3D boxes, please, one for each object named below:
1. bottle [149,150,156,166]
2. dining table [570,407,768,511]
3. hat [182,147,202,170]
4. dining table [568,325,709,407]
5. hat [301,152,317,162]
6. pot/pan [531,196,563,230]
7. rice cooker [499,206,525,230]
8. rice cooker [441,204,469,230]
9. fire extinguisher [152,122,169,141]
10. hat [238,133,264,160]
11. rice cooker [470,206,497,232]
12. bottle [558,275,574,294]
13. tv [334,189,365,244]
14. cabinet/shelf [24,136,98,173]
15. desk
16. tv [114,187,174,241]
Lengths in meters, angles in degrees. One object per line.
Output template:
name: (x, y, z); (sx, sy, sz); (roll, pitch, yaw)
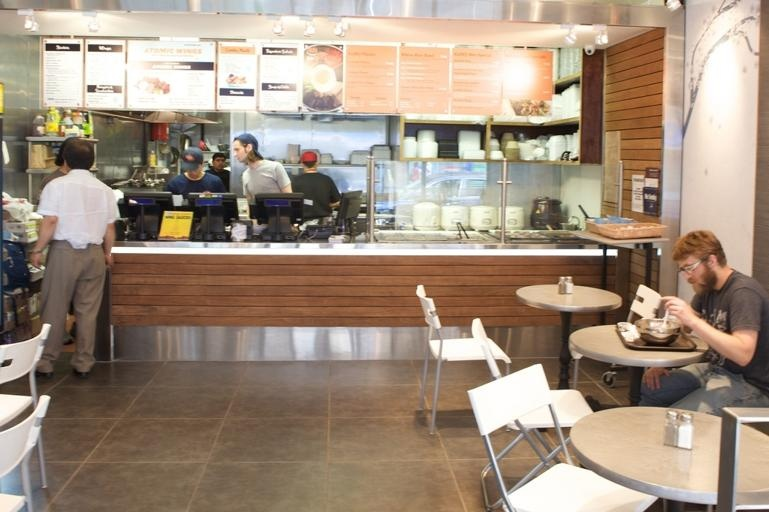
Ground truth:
bottle: (-3.909, -1.658, 10.481); (0.144, 0.249, 0.243); (-5, 10, -16)
dining table: (1.398, 0.988, 3.088); (0.861, 0.378, 0.703); (-4, 9, -16)
hat: (-2.564, -1.292, 8.238); (0.356, 0.200, 0.396); (5, 22, -7)
dining table: (1.715, 0.761, 4.228); (0.723, 0.342, 0.585); (-2, 7, -12)
hat: (-0.889, -1.189, 7.431); (0.169, 0.131, 0.165); (-4, 9, -14)
pot/pan: (1.784, -0.473, 6.793); (0.445, 0.337, 0.430); (0, -1, 36)
rice cooker: (1.413, -0.401, 6.658); (0.325, 0.202, 0.265); (0, -1, -3)
rice cooker: (0.767, -0.412, 6.616); (0.359, 0.206, 0.293); (0, 0, -5)
fire extinguisher: (-3.778, -2.100, 10.498); (0.294, 0.301, 0.146); (-5, 11, -16)
hat: (-1.641, -1.349, 7.594); (0.234, 0.312, 0.443); (-3, 8, -5)
rice cooker: (1.069, -0.412, 6.748); (0.358, 0.203, 0.285); (0, 5, 0)
bottle: (1.645, 0.251, 5.377); (0.215, 0.141, 0.131); (-1, 7, -1)
tv: (-0.381, -0.438, 6.673); (0.285, 0.518, 0.357); (-2, 10, 1)
cabinet/shelf: (-3.666, -1.142, 6.952); (1.083, 0.437, 0.485); (0, 2, -11)
desk: (2.452, 0.210, 6.367); (1.277, 0.846, 1.129); (1, 6, 15)
tv: (-2.598, -0.460, 6.713); (0.781, 0.506, 0.586); (1, 13, -4)
